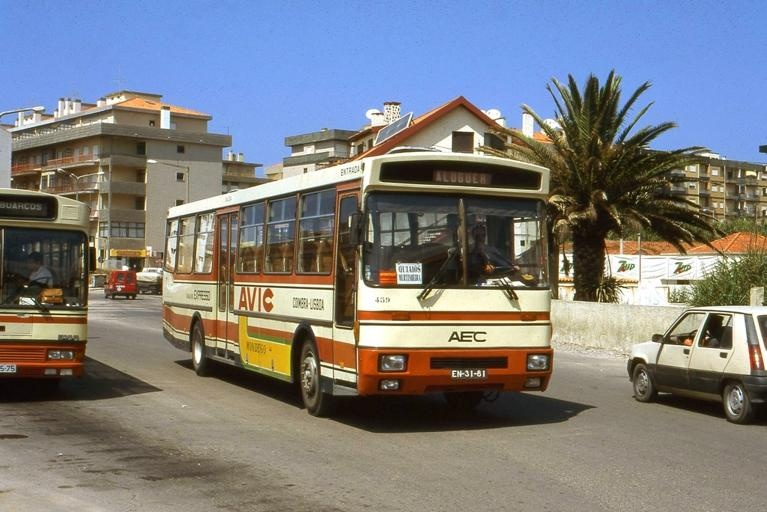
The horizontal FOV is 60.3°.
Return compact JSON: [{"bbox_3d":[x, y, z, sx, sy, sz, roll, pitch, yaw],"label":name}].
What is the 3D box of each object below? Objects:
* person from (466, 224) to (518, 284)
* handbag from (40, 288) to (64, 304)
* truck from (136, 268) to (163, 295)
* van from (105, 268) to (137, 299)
[{"bbox_3d":[1.713,-0.092,10.699,0.745,0.877,0.749,-4,3,-2],"label":"person"},{"bbox_3d":[-6.231,0.762,12.455,0.309,0.090,0.292,18,17,37],"label":"handbag"},{"bbox_3d":[-23.011,2.596,65.104,2.522,2.273,4.720,1,2,-15],"label":"truck"},{"bbox_3d":[-22.011,2.427,55.563,1.961,1.789,3.249,0,0,-25],"label":"van"}]
